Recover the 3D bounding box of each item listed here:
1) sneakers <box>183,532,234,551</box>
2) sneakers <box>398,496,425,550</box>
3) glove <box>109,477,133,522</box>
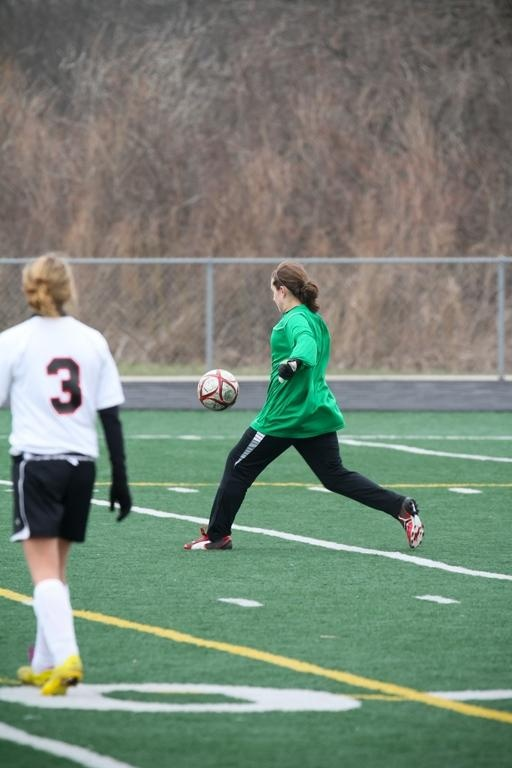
[{"bbox_3d":[-0.270,0.923,5.727,0.304,0.107,0.098,2,-1,0],"label":"sneakers"},{"bbox_3d":[0.882,0.800,5.612,0.164,0.298,0.120,-17,2,2],"label":"sneakers"},{"bbox_3d":[-0.453,0.396,3.285,0.113,0.156,0.046,-2,17,0],"label":"glove"}]
